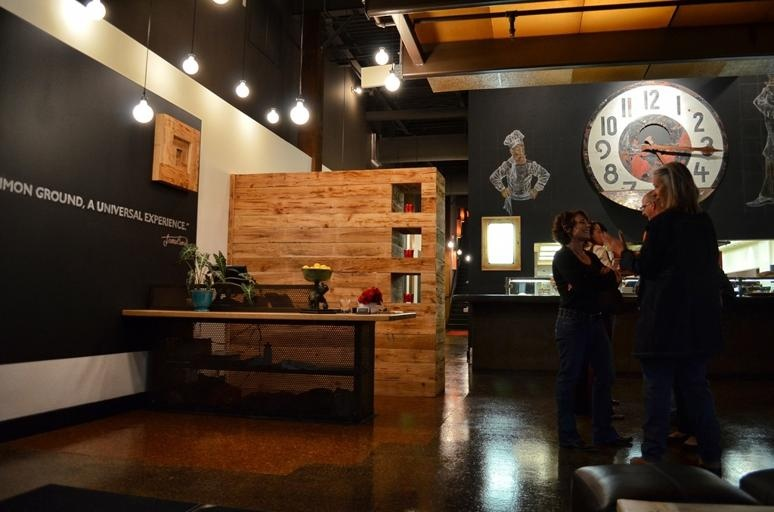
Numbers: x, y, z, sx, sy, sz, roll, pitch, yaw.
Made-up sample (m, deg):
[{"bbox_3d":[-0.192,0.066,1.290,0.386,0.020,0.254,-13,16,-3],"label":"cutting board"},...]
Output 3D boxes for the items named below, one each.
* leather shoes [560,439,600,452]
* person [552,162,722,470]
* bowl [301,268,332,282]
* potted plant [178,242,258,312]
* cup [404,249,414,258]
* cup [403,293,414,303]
[{"bbox_3d":[1.730,1.735,5.084,0.379,0.148,0.125,-3,-10,14],"label":"leather shoes"},{"bbox_3d":[2.334,0.479,4.590,0.734,2.499,0.378,1,2,7],"label":"person"},{"bbox_3d":[-0.784,0.218,6.140,0.295,0.168,0.154,0,3,-20],"label":"bowl"},{"bbox_3d":[-2.113,0.270,6.773,0.946,0.572,0.755,3,-6,4],"label":"potted plant"},{"bbox_3d":[0.285,-0.034,7.566,0.117,0.120,0.109,-1,-8,0],"label":"cup"},{"bbox_3d":[0.289,0.567,7.536,0.117,0.111,0.118,0,-5,0],"label":"cup"}]
